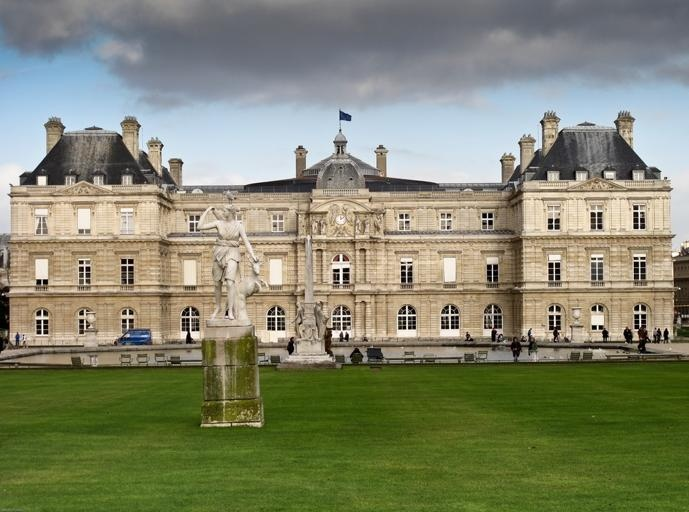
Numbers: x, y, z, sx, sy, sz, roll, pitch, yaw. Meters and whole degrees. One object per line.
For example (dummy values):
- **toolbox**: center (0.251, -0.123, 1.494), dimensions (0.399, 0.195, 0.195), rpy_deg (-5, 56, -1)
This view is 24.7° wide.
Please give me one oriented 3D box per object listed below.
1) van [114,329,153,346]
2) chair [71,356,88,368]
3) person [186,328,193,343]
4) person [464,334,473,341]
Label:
- **van**: center (-18.587, 7.104, 137.840), dimensions (2.450, 1.167, 1.571), rpy_deg (2, -4, -4)
- **chair**: center (-19.596, 7.644, 114.928), dimensions (1.119, 1.033, 0.715), rpy_deg (1, -10, -1)
- **person**: center (-14.112, 7.117, 141.287), dimensions (0.797, 1.085, 1.620), rpy_deg (1, 14, -6)
- **person**: center (11.127, 7.272, 141.382), dimensions (0.721, 0.744, 0.566), rpy_deg (5, -7, -2)
